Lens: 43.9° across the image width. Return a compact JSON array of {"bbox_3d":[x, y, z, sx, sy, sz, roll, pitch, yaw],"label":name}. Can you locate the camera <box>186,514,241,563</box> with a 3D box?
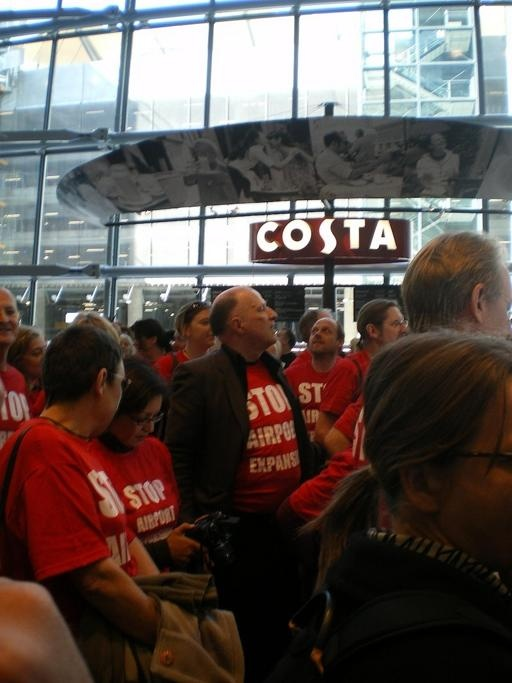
[{"bbox_3d":[-0.121,0.601,1.926,0.143,0.144,0.164,8,-25,-42],"label":"camera"}]

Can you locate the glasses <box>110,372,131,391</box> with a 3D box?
[{"bbox_3d":[-0.335,0.098,1.570,0.051,0.043,0.062,0,-2,-24],"label":"glasses"}]

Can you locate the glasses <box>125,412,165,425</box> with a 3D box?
[{"bbox_3d":[-0.339,0.227,1.819,0.067,0.018,0.063,8,3,21],"label":"glasses"}]

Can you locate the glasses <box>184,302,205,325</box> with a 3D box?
[{"bbox_3d":[-0.381,-0.169,3.754,0.149,0.130,0.107,3,-10,-26],"label":"glasses"}]
